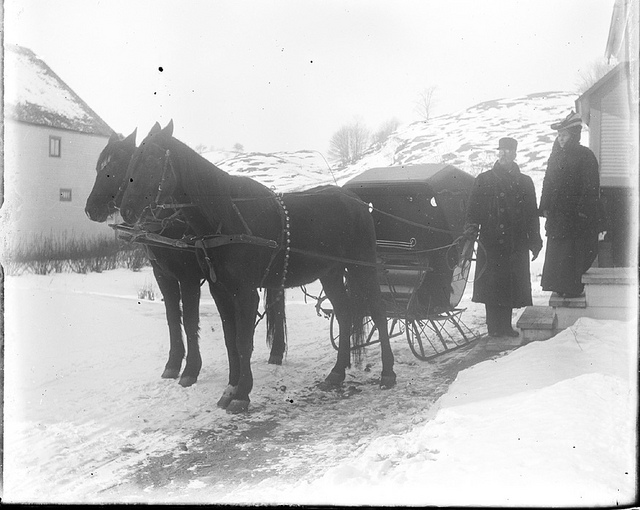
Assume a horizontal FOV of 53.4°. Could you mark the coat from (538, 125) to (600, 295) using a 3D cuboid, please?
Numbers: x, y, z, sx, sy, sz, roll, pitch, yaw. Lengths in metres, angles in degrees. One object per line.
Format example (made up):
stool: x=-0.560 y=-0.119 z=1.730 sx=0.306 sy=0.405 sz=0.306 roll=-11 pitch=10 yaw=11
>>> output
coat: x=2.668 y=-0.463 z=6.812 sx=0.325 sy=2.015 sz=1.062 roll=1 pitch=1 yaw=34

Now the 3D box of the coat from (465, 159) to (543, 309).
coat: x=2.004 y=-0.275 z=6.972 sx=0.342 sy=1.844 sz=1.021 roll=1 pitch=0 yaw=35

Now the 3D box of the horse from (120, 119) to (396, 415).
horse: x=-0.474 y=0.173 z=6.425 sx=3.018 sy=2.680 sz=0.758 roll=1 pitch=1 yaw=-35

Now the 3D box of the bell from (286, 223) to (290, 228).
bell: x=-0.308 y=-0.286 z=6.194 sx=0.028 sy=0.053 sz=0.053 roll=4 pitch=7 yaw=26

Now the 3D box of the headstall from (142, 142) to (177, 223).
headstall: x=-1.457 y=-0.682 z=5.780 sx=0.308 sy=0.663 sz=0.164 roll=-3 pitch=11 yaw=-14

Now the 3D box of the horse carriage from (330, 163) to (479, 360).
horse carriage: x=0.994 y=0.077 z=7.534 sx=1.332 sy=2.203 sz=2.206 roll=2 pitch=3 yaw=30

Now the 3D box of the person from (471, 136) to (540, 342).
person: x=2.003 y=-0.167 z=6.910 sx=0.734 sy=2.149 sz=0.268 roll=3 pitch=11 yaw=16

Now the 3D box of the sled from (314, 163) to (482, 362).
sled: x=0.757 y=0.067 z=8.201 sx=1.566 sy=2.624 sz=2.702 roll=6 pitch=14 yaw=40

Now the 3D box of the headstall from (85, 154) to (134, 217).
headstall: x=-2.137 y=-0.700 z=6.339 sx=0.352 sy=1.058 sz=0.112 roll=8 pitch=-9 yaw=40

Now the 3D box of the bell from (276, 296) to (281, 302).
bell: x=-0.456 y=0.481 z=6.860 sx=0.021 sy=0.057 sz=0.100 roll=-5 pitch=-2 yaw=8

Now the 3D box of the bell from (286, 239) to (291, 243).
bell: x=-0.308 y=-0.136 z=6.184 sx=0.022 sy=0.049 sz=0.091 roll=4 pitch=12 yaw=19
